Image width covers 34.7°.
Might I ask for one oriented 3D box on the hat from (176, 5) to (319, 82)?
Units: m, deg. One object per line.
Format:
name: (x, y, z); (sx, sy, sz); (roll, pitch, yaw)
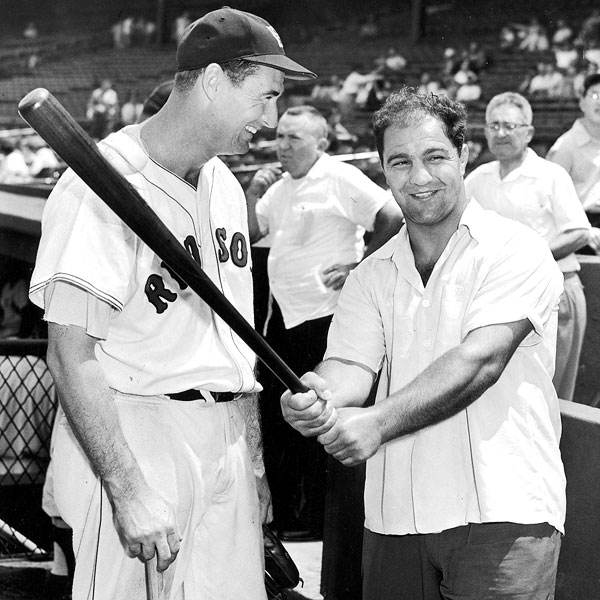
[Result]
hat: (-0.166, -0.701, 2.683); (0.262, 0.180, 0.194); (1, 10, 1)
